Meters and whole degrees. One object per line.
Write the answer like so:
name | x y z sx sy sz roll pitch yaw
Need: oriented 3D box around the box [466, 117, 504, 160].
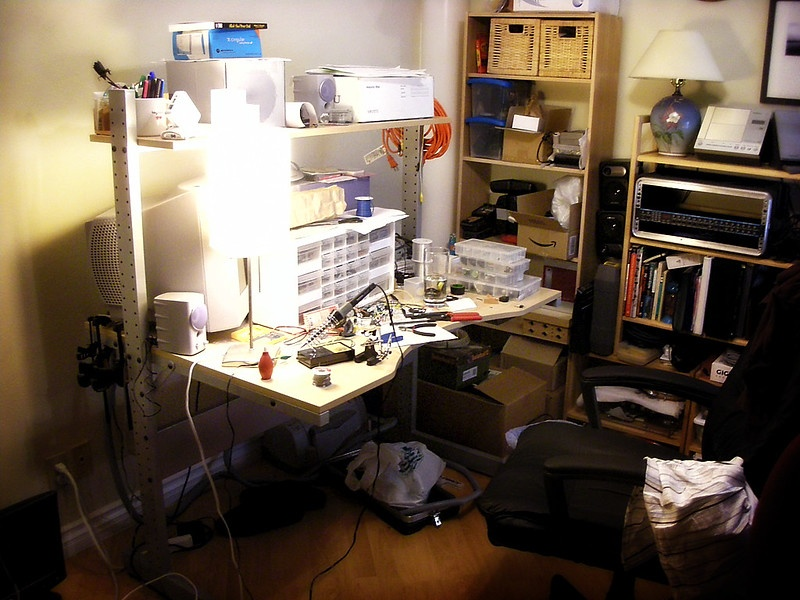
box | 0.504 -0.925 3.844 0.273 0.215 0.234 3 9 21

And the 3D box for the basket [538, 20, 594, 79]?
basket | 0.882 -1.268 3.581 0.279 0.353 0.366 5 -14 6

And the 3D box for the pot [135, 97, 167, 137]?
pot | -0.823 -0.612 2.200 0.123 0.116 0.108 -3 10 -1

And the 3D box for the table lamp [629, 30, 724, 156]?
table lamp | 1.373 -1.021 3.264 0.456 0.580 0.460 2 13 3

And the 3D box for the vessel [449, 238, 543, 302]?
vessel | 0.445 -0.216 3.007 0.368 0.176 0.274 10 20 28

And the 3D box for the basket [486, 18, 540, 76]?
basket | 0.619 -1.370 3.640 0.327 0.322 0.318 4 13 11

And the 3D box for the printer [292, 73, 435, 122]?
printer | -0.117 -0.886 2.845 0.643 0.195 0.244 -12 24 -31

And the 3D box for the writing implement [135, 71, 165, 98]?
writing implement | -0.851 -0.731 2.216 0.090 0.073 0.106 -7 22 -20

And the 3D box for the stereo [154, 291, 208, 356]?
stereo | -0.755 0.079 2.300 0.181 0.186 0.139 5 12 21

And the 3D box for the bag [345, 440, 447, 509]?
bag | -0.031 0.775 2.936 0.313 0.102 0.296 15 37 24

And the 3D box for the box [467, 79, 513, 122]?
box | 0.540 -1.163 3.821 0.286 0.212 0.238 9 20 24

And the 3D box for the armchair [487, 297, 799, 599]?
armchair | 0.761 0.268 2.407 1.028 1.253 0.910 9 19 22

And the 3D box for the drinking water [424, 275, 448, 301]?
drinking water | 0.152 -0.061 2.865 0.102 0.112 0.101 -12 21 -34

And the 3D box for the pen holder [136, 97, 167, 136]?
pen holder | -0.812 -0.605 2.152 0.123 0.116 0.107 5 14 -4
